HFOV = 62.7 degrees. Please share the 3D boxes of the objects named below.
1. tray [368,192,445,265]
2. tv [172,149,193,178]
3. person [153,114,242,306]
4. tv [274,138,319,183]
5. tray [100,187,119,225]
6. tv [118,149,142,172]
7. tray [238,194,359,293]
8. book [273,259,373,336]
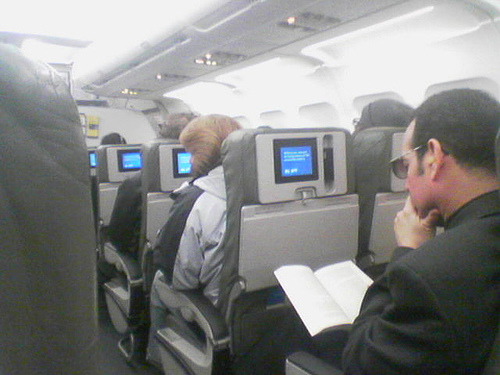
[{"bbox_3d":[1.002,0.252,2.717,0.492,0.507,0.054,-6,14,-26],"label":"tray"},{"bbox_3d":[-0.523,-0.173,3.078,0.056,0.208,0.239,-5,-3,43],"label":"tv"},{"bbox_3d":[-0.336,0.104,2.371,0.459,1.060,0.503,-1,7,15],"label":"person"},{"bbox_3d":[0.248,-0.141,2.065,0.033,0.226,0.322,-3,3,-40],"label":"tv"},{"bbox_3d":[-1.431,0.193,4.148,0.044,0.426,0.249,-14,-7,15],"label":"tray"},{"bbox_3d":[-1.221,-0.278,4.124,0.315,0.245,0.156,-1,2,-41],"label":"tv"},{"bbox_3d":[0.264,0.275,2.173,0.791,0.449,0.088,-4,18,-33],"label":"tray"},{"bbox_3d":[0.314,0.401,1.573,0.321,0.054,0.326,-25,25,-10],"label":"book"}]
